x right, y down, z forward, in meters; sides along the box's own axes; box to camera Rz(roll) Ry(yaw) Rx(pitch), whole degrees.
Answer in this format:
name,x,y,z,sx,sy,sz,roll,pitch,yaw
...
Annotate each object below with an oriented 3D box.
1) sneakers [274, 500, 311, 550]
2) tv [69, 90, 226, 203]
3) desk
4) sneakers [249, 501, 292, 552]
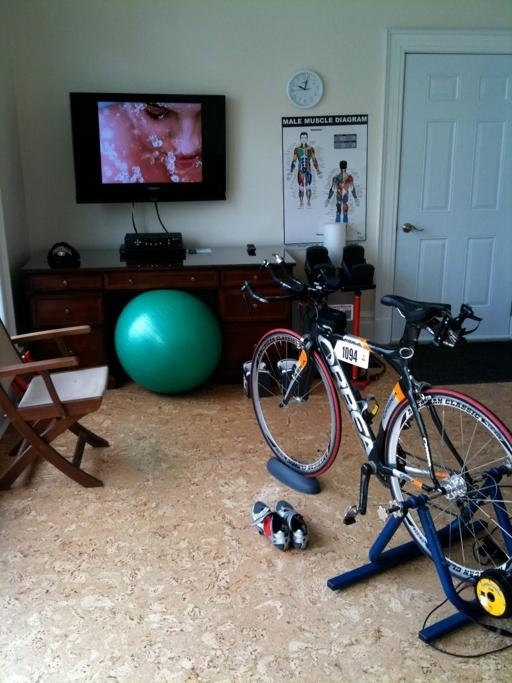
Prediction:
name,x,y,z,sx,sy,sz,roll,pitch,yaw
sneakers,0.121,0.639,1.852,0.061,0.063,0.165,3,23,-12
tv,-0.736,-1.295,3.426,0.800,0.542,0.062,-2,19,-9
desk,-0.579,-0.059,3.474,1.627,0.753,0.545,-2,-3,-4
sneakers,0.042,0.641,1.866,0.093,0.078,0.241,-3,16,-23
